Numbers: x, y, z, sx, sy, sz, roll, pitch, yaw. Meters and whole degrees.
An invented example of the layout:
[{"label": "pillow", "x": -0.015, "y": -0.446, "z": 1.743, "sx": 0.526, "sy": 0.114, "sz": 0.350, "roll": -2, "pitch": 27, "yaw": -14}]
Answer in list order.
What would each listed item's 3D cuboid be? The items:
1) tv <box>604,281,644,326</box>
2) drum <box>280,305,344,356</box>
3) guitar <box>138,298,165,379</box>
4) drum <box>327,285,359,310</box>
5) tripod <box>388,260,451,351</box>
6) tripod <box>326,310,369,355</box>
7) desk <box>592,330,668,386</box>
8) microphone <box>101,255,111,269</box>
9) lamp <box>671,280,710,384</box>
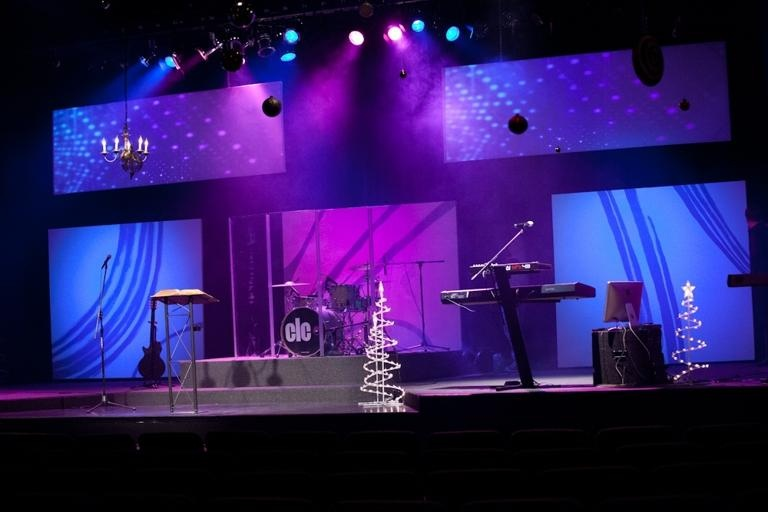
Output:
[{"label": "tv", "x": 3.062, "y": 0.590, "z": 9.903, "sx": 0.762, "sy": 0.656, "sz": 0.244, "roll": -1, "pitch": 1, "yaw": -20}, {"label": "drum", "x": -1.053, "y": 1.143, "z": 12.149, "sx": 0.858, "sy": 0.816, "sz": 0.784, "roll": -2, "pitch": -3, "yaw": 24}, {"label": "guitar", "x": -3.772, "y": 1.491, "z": 12.589, "sx": 0.400, "sy": 1.207, "sz": 1.132, "roll": 1, "pitch": -11, "yaw": -17}, {"label": "drum", "x": -0.604, "y": 0.639, "z": 12.184, "sx": 0.418, "sy": 0.288, "sz": 0.406, "roll": -1, "pitch": -7, "yaw": 0}, {"label": "tripod", "x": 0.648, "y": 0.834, "z": 13.012, "sx": 0.464, "sy": 1.529, "sz": 0.734, "roll": -2, "pitch": -1, "yaw": -4}, {"label": "tripod", "x": -0.662, "y": 1.169, "z": 12.268, "sx": 0.673, "sy": 0.528, "sz": 0.744, "roll": 1, "pitch": 4, "yaw": -24}, {"label": "desk", "x": 3.068, "y": 1.245, "z": 9.760, "sx": 0.885, "sy": 0.769, "sz": 0.381, "roll": -6, "pitch": -11, "yaw": 18}, {"label": "microphone", "x": -4.695, "y": 0.074, "z": 13.053, "sx": 0.083, "sy": 0.242, "sz": 0.070, "roll": 32, "pitch": -27, "yaw": 10}, {"label": "lamp", "x": 4.576, "y": 1.030, "z": 11.738, "sx": 0.549, "sy": 1.521, "sz": 2.181, "roll": -6, "pitch": -11, "yaw": 21}]
